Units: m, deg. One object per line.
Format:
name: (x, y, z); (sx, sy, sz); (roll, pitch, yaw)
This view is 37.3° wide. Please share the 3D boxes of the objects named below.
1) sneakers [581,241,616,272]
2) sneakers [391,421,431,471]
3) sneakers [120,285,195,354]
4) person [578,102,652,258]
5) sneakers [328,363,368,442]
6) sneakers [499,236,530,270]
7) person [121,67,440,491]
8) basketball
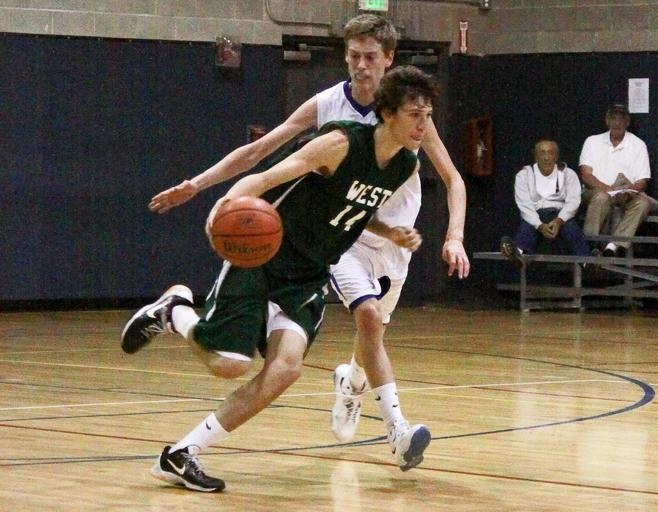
sneakers: (2.247, -0.006, 8.010); (0.373, 0.156, 0.131); (-9, -6, 33)
sneakers: (0.296, 0.723, 3.685); (0.141, 0.210, 0.194); (0, 5, -4)
sneakers: (-0.897, 0.326, 5.043); (0.188, 0.451, 0.163); (46, -7, 38)
person: (2.368, -0.716, 8.024); (0.588, 1.086, 0.287); (1, 5, 12)
sneakers: (0.067, 0.605, 4.208); (0.110, 0.362, 0.152); (6, -27, -23)
sneakers: (1.505, -0.062, 7.918); (0.152, 0.351, 0.116); (-46, 18, -21)
person: (-0.146, 0.058, 3.698); (1.058, 1.557, 0.349); (-2, 5, -21)
basketball: (-0.289, -0.084, 3.394); (0.244, 0.240, 0.237); (0, -7, 5)
